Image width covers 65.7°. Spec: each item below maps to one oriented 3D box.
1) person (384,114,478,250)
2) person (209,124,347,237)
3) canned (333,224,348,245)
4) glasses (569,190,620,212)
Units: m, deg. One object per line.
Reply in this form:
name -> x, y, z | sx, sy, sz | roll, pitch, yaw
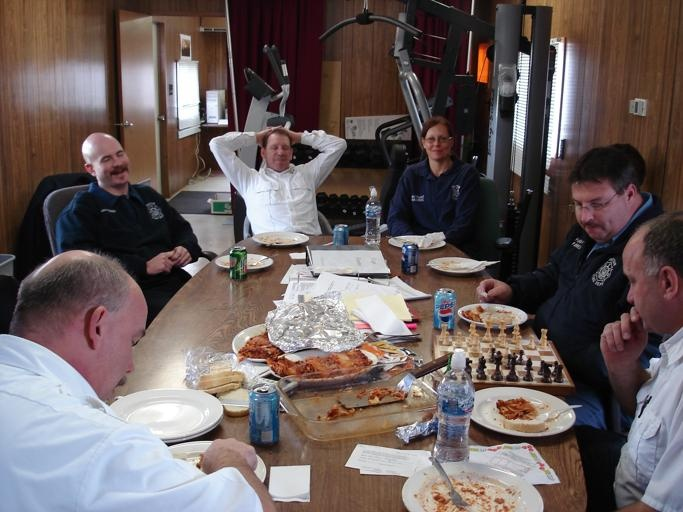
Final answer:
person -> 0.761, -0.536, 4.006 | 0.809, 1.152, 0.882 | 4, 6, 23
person -> -0.474, -0.580, 4.222 | 0.612, 0.858, 0.867 | 12, 22, 42
canned -> -0.002, -0.127, 3.156 | 0.106, 0.121, 0.106 | 0, 14, 1
glasses -> 1.099, -0.237, 2.284 | 0.186, 0.056, 0.178 | -5, -1, -36
